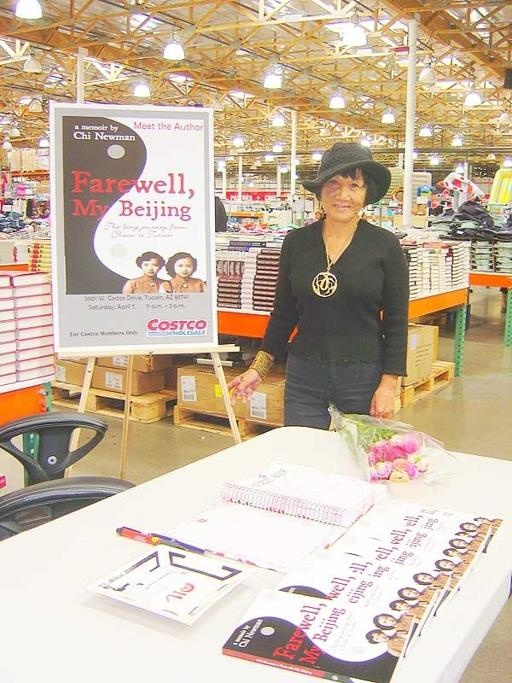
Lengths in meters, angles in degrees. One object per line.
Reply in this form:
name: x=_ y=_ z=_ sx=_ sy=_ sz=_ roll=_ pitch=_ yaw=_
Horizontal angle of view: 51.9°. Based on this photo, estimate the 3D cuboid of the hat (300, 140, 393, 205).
hat: x=0.394 y=-0.657 z=2.021 sx=0.264 sy=0.151 sz=0.292 roll=-19 pitch=-33 yaw=31

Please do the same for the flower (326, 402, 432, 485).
flower: x=0.328 y=0.264 z=1.398 sx=0.162 sy=0.080 sz=0.200 roll=-24 pitch=39 yaw=-26

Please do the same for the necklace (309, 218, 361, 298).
necklace: x=0.287 y=-0.290 z=1.941 sx=0.153 sy=0.246 sz=0.058 roll=1 pitch=3 yaw=7

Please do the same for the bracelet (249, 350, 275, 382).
bracelet: x=0.014 y=0.097 z=2.009 sx=0.060 sy=0.089 sz=0.138 roll=-38 pitch=22 yaw=27
